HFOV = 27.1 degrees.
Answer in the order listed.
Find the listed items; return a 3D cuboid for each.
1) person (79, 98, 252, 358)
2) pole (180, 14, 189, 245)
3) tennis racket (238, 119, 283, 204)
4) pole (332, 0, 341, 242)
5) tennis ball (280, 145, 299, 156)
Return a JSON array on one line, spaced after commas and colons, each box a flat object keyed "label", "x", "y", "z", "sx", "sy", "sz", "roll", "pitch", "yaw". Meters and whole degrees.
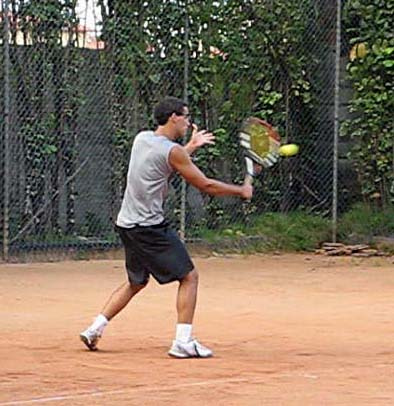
[{"label": "person", "x": -0.268, "y": 0.161, "z": 6.048, "sx": 1.073, "sy": 1.834, "sz": 0.339, "roll": 2, "pitch": 0, "yaw": 7}, {"label": "pole", "x": -0.156, "y": -0.967, "z": 10.587, "sx": 0.079, "sy": 2.832, "sz": 0.340, "roll": 2, "pitch": 0, "yaw": -1}, {"label": "tennis racket", "x": 0.620, "y": -0.458, "z": 7.153, "sx": 0.393, "sy": 0.107, "sz": 0.789, "roll": -34, "pitch": -8, "yaw": -10}, {"label": "pole", "x": 1.944, "y": -1.136, "z": 11.406, "sx": 0.093, "sy": 3.034, "sz": 0.566, "roll": 2, "pitch": 0, "yaw": 10}, {"label": "tennis ball", "x": 1.103, "y": -0.632, "z": 9.751, "sx": 0.220, "sy": 0.108, "sz": 0.109, "roll": 0, "pitch": 9, "yaw": 11}]
